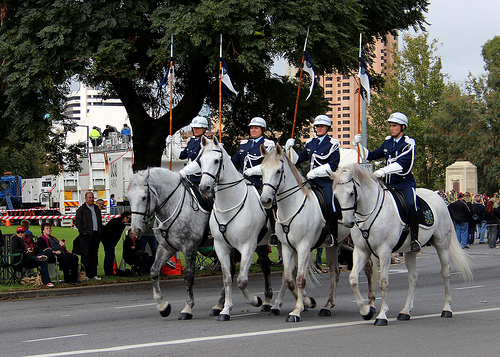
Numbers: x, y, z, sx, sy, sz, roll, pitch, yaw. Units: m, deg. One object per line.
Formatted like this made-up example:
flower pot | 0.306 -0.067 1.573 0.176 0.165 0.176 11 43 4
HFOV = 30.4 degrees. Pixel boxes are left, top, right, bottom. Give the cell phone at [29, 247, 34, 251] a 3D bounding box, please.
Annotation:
cell phone | -7.050 2.277 29.617 0.119 0.130 0.209 -2 -3 -12

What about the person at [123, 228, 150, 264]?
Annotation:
person | -3.942 2.322 31.502 0.858 1.392 0.644 5 17 7

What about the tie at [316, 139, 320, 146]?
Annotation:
tie | 1.951 -1.080 26.228 0.053 0.135 0.145 7 7 -14

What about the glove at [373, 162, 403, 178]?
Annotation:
glove | 3.731 -0.249 24.946 0.646 0.260 0.436 -12 6 -7

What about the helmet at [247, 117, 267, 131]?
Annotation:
helmet | 0.266 -1.676 26.504 0.333 0.254 0.486 -5 -12 31

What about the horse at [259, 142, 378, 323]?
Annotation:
horse | 1.777 1.677 26.269 1.654 4.746 6.202 -7 -8 30

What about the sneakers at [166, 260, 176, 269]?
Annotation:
sneakers | -2.771 3.024 32.452 0.166 0.196 0.479 -14 -31 37

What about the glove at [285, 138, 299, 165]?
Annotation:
glove | 1.165 -0.827 26.291 0.232 0.654 0.485 -7 0 9

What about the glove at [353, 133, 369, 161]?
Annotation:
glove | 3.147 -0.966 26.100 0.213 0.711 0.523 -16 30 -4

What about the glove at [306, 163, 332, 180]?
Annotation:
glove | 1.927 -0.225 25.774 0.593 0.312 0.393 -18 37 -6

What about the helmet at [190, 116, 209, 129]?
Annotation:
helmet | -1.497 -1.691 27.079 0.476 0.391 0.403 -2 -3 -4

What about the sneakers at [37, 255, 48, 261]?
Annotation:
sneakers | -6.662 2.552 29.396 0.285 0.144 0.133 3 -1 -15

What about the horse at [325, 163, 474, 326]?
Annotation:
horse | 4.257 1.993 25.650 1.505 4.213 6.339 -6 -8 42

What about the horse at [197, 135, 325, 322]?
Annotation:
horse | -0.223 1.683 26.407 1.769 5.046 5.528 -1 -9 18

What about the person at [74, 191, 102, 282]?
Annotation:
person | -5.366 1.921 30.576 0.663 2.967 0.922 -5 -4 42

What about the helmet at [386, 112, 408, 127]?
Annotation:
helmet | 4.119 -1.671 25.480 0.482 0.256 0.346 3 -2 -18

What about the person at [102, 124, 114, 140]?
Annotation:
person | -8.221 -2.757 53.057 0.717 0.783 0.882 4 -24 -13

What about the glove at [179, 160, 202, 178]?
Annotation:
glove | -1.709 -0.311 26.320 0.647 0.388 0.315 -24 -5 -25

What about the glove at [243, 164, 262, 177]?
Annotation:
glove | 0.092 -0.235 25.493 0.433 0.174 0.283 -10 -44 24

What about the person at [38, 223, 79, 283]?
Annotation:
person | -6.289 2.447 30.242 1.152 2.075 0.945 -8 -6 16
